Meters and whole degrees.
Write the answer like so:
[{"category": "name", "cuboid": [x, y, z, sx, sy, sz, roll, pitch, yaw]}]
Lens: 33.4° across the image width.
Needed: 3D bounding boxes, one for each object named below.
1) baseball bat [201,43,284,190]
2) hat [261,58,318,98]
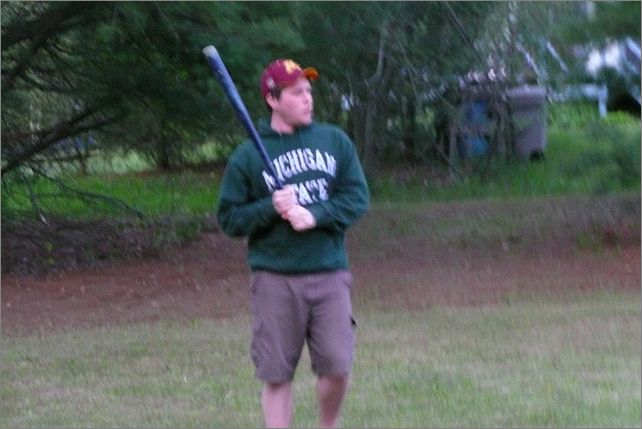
[{"category": "baseball bat", "cuboid": [-0.539, -0.628, 7.163, 0.075, 1.061, 0.183, -29, 11, -4]}, {"category": "hat", "cuboid": [-0.199, -0.858, 6.806, 0.297, 0.176, 0.217, -32, -1, 22]}]
